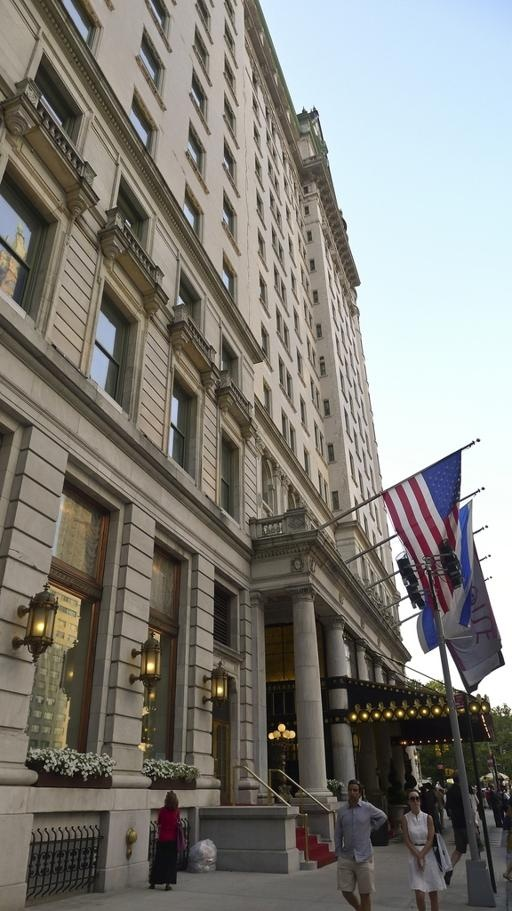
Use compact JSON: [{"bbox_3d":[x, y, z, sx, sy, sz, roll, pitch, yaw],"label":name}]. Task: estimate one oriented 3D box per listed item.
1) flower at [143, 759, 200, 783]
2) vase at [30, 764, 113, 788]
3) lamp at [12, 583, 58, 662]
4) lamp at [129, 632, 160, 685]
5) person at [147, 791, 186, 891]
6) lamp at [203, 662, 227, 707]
[{"bbox_3d":[-1.792,6.723,10.675,0.696,0.476,1.256,-11,-32,37],"label":"flower"},{"bbox_3d":[-2.604,4.677,7.263,0.128,0.319,1.993,-7,-32,11],"label":"vase"},{"bbox_3d":[-2.823,2.125,6.445,0.382,0.934,0.342,-4,-29,-2],"label":"lamp"},{"bbox_3d":[-2.206,4.030,9.872,0.582,1.410,0.474,-17,-27,26],"label":"lamp"},{"bbox_3d":[-1.416,6.155,8.030,0.480,1.284,1.181,3,-29,-9],"label":"person"},{"bbox_3d":[-1.054,6.068,13.313,0.514,0.996,0.660,-10,-28,15],"label":"lamp"}]
